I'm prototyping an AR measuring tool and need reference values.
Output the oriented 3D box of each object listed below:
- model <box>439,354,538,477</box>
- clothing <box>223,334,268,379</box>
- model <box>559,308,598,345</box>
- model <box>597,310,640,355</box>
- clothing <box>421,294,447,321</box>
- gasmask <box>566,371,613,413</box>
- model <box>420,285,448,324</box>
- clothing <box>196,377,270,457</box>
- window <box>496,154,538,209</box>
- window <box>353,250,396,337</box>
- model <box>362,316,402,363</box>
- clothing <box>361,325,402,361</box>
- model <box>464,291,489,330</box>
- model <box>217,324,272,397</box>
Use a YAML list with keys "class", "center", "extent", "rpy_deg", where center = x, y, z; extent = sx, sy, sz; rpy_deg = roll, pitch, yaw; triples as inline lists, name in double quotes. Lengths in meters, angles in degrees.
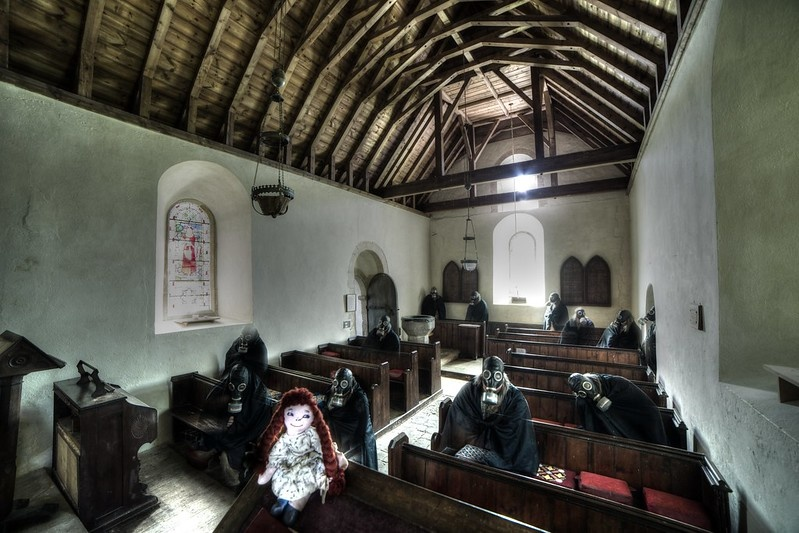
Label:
- class: "model"
  center: [1.204, 2.035, 7.121]
  extent: [1.289, 1.650, 0.821]
  rpy_deg: [8, 12, 19]
- class: "clothing"
  center: [-2.504, 1.482, 8.406]
  extent: [0.667, 0.745, 0.437]
  rpy_deg: [1, -14, 16]
- class: "model"
  center: [3.934, 1.355, 11.479]
  extent: [0.709, 0.909, 0.470]
  rpy_deg: [1, -7, 5]
- class: "model"
  center: [4.470, 1.360, 10.571]
  extent: [0.435, 1.234, 0.758]
  rpy_deg: [6, -4, -37]
- class: "clothing"
  center: [0.971, 1.150, 14.786]
  extent: [0.851, 0.952, 0.579]
  rpy_deg: [4, -8, -18]
- class: "gasmask"
  center: [2.576, 1.675, 7.076]
  extent: [0.611, 0.356, 0.274]
  rpy_deg: [52, -2, 43]
- class: "model"
  center: [0.929, 1.081, 14.433]
  extent: [0.777, 1.239, 0.337]
  rpy_deg: [2, -5, -5]
- class: "clothing"
  center: [-2.345, 2.318, 7.732]
  extent: [0.863, 1.374, 0.365]
  rpy_deg: [3, -31, 24]
- class: "window"
  center: [2.978, -2.150, 13.092]
  extent: [1.312, 2.053, 0.199]
  rpy_deg: [-1, -3, 37]
- class: "window"
  center: [-0.457, 1.017, 12.311]
  extent: [0.770, 1.982, 0.176]
  rpy_deg: [2, 30, 1]
- class: "model"
  center: [-0.346, 1.421, 10.362]
  extent: [0.828, 0.856, 0.499]
  rpy_deg: [11, 1, 18]
- class: "clothing"
  center: [-0.358, 1.564, 10.155]
  extent: [0.825, 0.809, 0.498]
  rpy_deg: [-5, -14, 39]
- class: "model"
  center: [2.049, 1.167, 13.684]
  extent: [0.514, 1.101, 0.742]
  rpy_deg: [14, -15, -35]
- class: "model"
  center: [-2.504, 1.443, 8.493]
  extent: [0.653, 1.024, 0.528]
  rpy_deg: [12, 9, 13]
